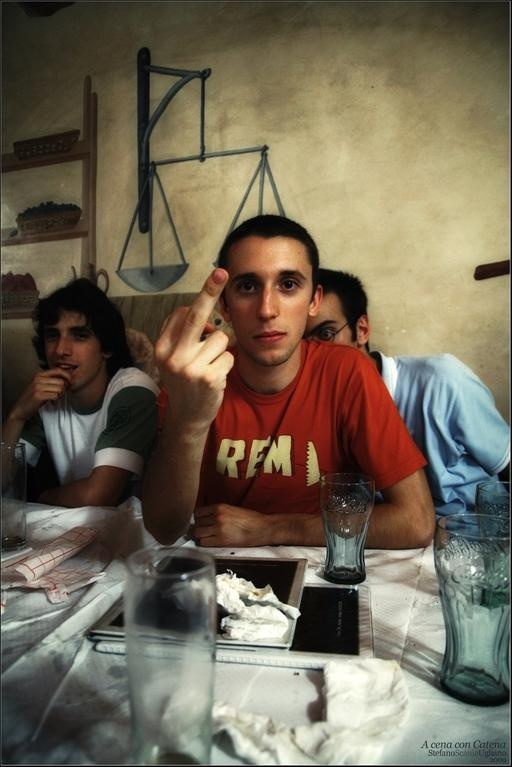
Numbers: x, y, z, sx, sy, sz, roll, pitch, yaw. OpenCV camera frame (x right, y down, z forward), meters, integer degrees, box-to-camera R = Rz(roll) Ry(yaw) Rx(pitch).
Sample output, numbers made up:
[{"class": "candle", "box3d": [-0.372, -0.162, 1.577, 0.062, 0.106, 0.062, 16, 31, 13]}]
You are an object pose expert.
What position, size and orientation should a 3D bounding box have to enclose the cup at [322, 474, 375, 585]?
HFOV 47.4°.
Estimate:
[{"class": "cup", "box3d": [0.110, 0.174, 0.697, 0.063, 0.107, 0.084, -1, 3, 10]}]
